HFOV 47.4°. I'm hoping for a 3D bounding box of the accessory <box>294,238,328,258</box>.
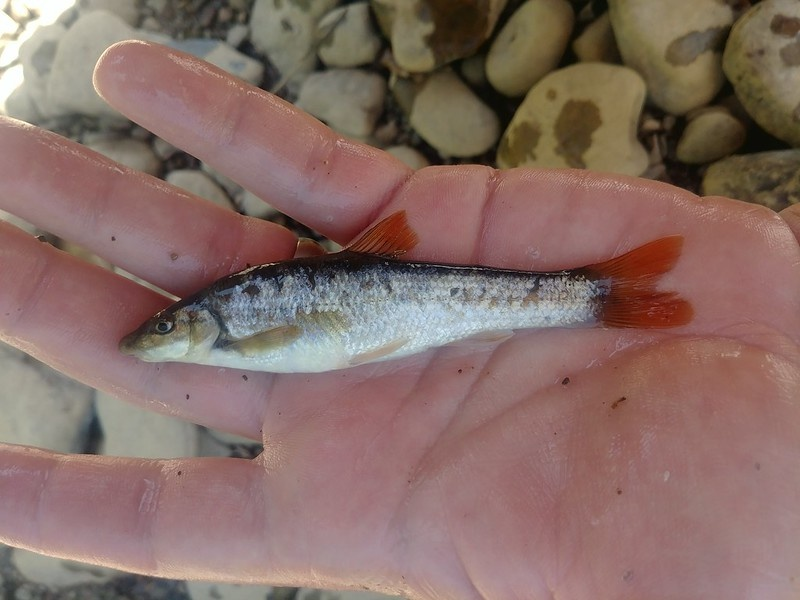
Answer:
[{"bbox_3d":[-0.599,-0.343,6.128,0.161,0.150,0.130,30,81,16],"label":"accessory"}]
